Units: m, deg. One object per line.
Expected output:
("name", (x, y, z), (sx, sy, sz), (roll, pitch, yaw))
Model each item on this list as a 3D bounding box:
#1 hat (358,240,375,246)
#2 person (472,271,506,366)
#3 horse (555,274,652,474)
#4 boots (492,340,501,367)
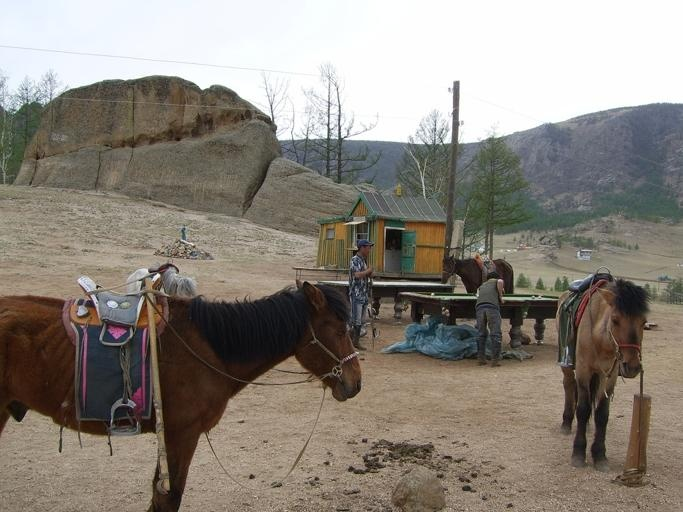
("hat", (0.472, -0.254, 13.398), (0.248, 0.095, 0.159), (-1, 1, -21))
("person", (2.841, 1.193, 13.438), (0.481, 1.739, 0.668), (1, 7, 10))
("horse", (3.202, 1.370, 8.695), (0.823, 2.263, 1.507), (0, 7, -2))
("boots", (2.939, 1.837, 13.254), (0.145, 0.485, 0.205), (1, 7, 11))
